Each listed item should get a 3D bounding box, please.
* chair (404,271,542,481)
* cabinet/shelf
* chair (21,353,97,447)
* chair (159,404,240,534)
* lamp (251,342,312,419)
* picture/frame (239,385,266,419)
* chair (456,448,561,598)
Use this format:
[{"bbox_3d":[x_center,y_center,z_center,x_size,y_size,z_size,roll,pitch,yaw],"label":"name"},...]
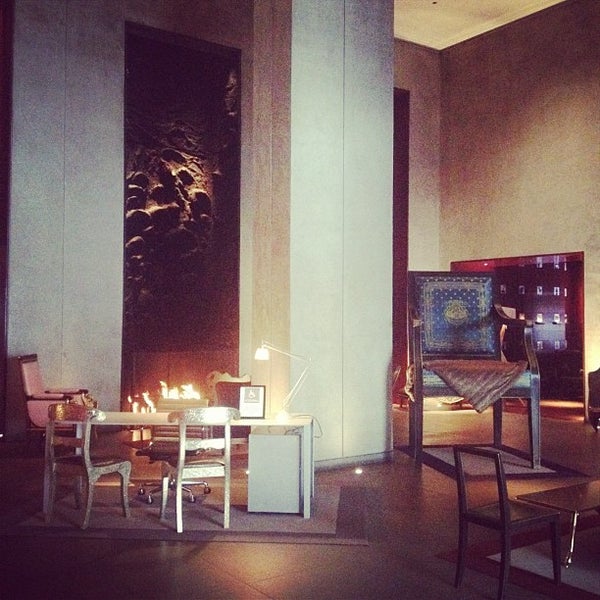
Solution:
[{"bbox_3d":[1.562,0.582,6.195,1.044,1.934,1.262,0,-4,2],"label":"chair"},{"bbox_3d":[-0.153,1.220,5.025,0.639,0.809,0.518,0,-5,-6],"label":"cabinet/shelf"},{"bbox_3d":[-2.622,1.078,7.041,0.647,0.973,0.594,-1,-1,0],"label":"chair"},{"bbox_3d":[-0.732,1.162,4.608,0.558,0.862,0.605,0,-5,7],"label":"chair"},{"bbox_3d":[-0.166,0.716,5.598,0.516,0.779,0.213,5,-41,0],"label":"lamp"},{"bbox_3d":[-0.372,0.806,5.066,0.206,0.293,0.027,1,-18,-5],"label":"picture/frame"},{"bbox_3d":[1.209,1.193,3.786,0.571,0.782,1.065,0,-1,22],"label":"chair"}]
